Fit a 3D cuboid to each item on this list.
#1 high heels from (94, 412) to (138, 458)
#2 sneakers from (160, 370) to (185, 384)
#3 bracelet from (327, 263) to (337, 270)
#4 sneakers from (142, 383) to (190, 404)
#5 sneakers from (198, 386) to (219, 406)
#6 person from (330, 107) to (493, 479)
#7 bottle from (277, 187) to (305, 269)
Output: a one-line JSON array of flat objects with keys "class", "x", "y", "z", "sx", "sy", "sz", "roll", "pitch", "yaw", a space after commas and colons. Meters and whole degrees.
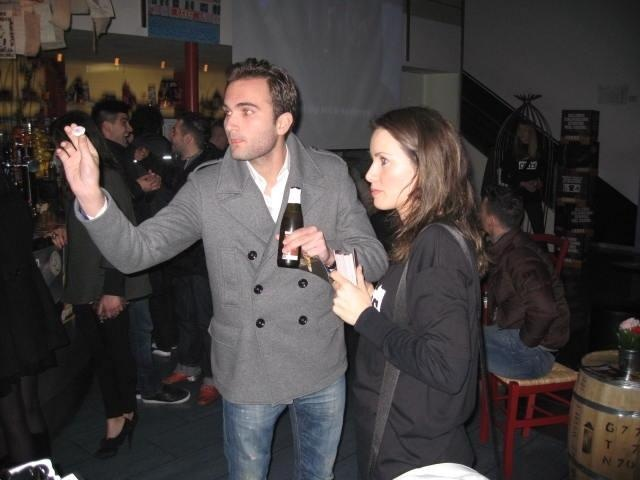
[{"class": "high heels", "x": -1.318, "y": 1.283, "z": 3.342, "sx": 0.123, "sy": 0.339, "sz": 0.135, "roll": -2, "pitch": -38, "yaw": 44}, {"class": "sneakers", "x": -1.207, "y": 1.144, "z": 4.216, "sx": 0.233, "sy": 0.089, "sz": 0.083, "roll": 4, "pitch": -1, "yaw": -12}, {"class": "bracelet", "x": 0.048, "y": 0.107, "z": 2.067, "sx": 0.026, "sy": 0.029, "sz": 0.034, "roll": 1, "pitch": 10, "yaw": 3}, {"class": "sneakers", "x": -1.170, "y": 1.188, "z": 3.859, "sx": 0.379, "sy": 0.145, "sz": 0.148, "roll": 0, "pitch": 10, "yaw": -13}, {"class": "sneakers", "x": -0.868, "y": 1.199, "z": 3.902, "sx": 0.091, "sy": 0.093, "sz": 0.243, "roll": -2, "pitch": -10, "yaw": 7}, {"class": "person", "x": 0.322, "y": 0.211, "z": 1.819, "sx": 0.565, "sy": 1.349, "sz": 0.510, "roll": 4, "pitch": 14, "yaw": 14}, {"class": "bottle", "x": -0.112, "y": -0.058, "z": 2.055, "sx": 0.095, "sy": 0.330, "sz": 0.235, "roll": 5, "pitch": 14, "yaw": 16}]
